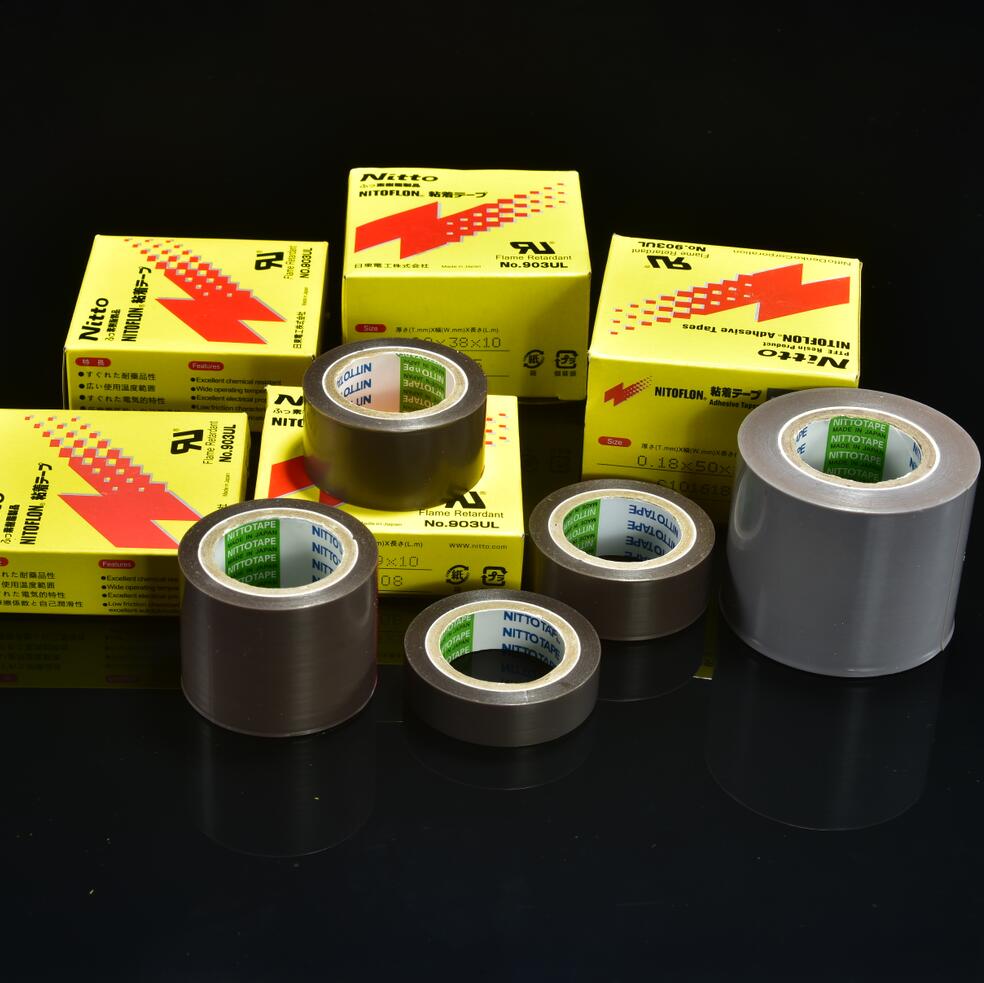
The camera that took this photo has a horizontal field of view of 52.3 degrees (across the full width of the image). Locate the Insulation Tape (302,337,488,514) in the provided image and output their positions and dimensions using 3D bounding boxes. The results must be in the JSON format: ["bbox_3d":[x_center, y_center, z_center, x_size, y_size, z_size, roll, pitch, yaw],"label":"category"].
[{"bbox_3d":[-0.156,-0.133,1.668,0.278,0.180,0.290,28,47,22],"label":"Insulation Tape"}]

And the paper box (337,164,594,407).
[{"bbox_3d":[-0.054,-0.498,2.118,0.451,0.320,0.511,1,43,-3],"label":"paper box"}]

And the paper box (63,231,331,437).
[{"bbox_3d":[-0.602,-0.272,2.066,0.404,0.128,0.470,2,46,-4],"label":"paper box"}]

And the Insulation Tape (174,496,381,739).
[{"bbox_3d":[-0.282,0.193,1.467,0.284,0.251,0.317,9,35,6],"label":"Insulation Tape"}]

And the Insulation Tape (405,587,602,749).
[{"bbox_3d":[0.013,0.266,1.487,0.280,0.107,0.302,-8,30,-19],"label":"Insulation Tape"}]

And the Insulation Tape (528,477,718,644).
[{"bbox_3d":[0.214,0.121,1.676,0.303,0.180,0.259,-1,26,-1],"label":"Insulation Tape"}]
